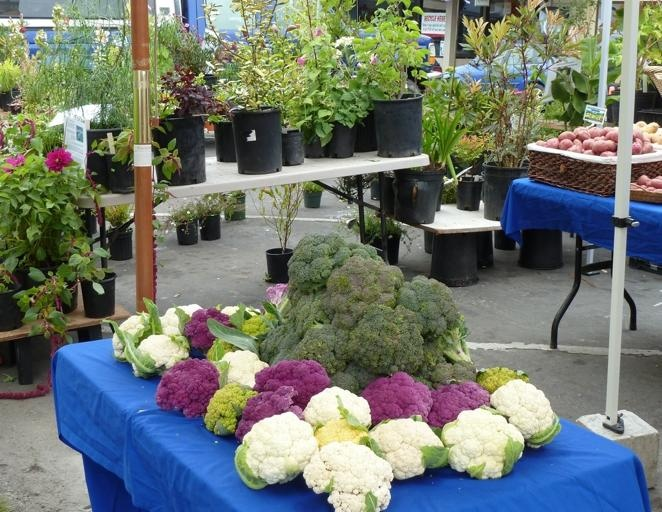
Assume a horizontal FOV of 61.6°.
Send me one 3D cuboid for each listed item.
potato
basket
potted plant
[{"bbox_3d":[1.726,-0.623,3.632,0.677,0.226,0.530,-9,15,-36],"label":"potato"},{"bbox_3d":[1.532,-0.548,3.593,0.161,0.282,0.726,-6,13,-22],"label":"basket"},{"bbox_3d":[0.061,-0.675,4.416,3.555,0.801,2.333,-6,22,-21],"label":"potted plant"}]
